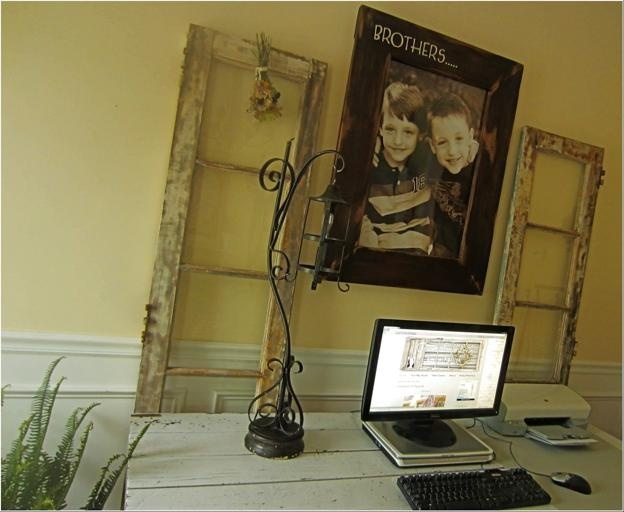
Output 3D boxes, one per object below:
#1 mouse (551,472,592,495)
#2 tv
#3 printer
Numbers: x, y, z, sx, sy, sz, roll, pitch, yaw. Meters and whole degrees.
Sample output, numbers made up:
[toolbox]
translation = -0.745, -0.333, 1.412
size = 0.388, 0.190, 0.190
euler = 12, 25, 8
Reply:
[mouse]
translation = 0.906, 0.775, 1.629
size = 0.096, 0.032, 0.063
euler = 12, -4, 31
[tv]
translation = 0.466, 0.470, 1.810
size = 0.599, 0.470, 0.252
euler = 5, 15, -17
[printer]
translation = 1.017, 0.680, 2.053
size = 0.463, 0.165, 0.401
euler = 6, 1, -23
